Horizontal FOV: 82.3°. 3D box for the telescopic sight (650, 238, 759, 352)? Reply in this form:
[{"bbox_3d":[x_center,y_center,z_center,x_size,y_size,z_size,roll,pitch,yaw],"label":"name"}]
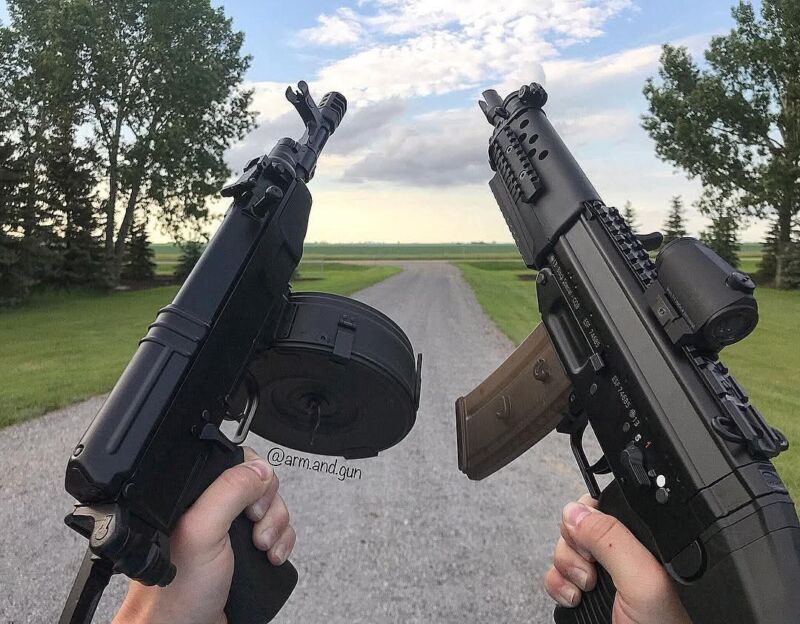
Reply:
[{"bbox_3d":[1.280,-0.083,1.949,0.251,0.337,0.496,8,36,-1],"label":"telescopic sight"}]
